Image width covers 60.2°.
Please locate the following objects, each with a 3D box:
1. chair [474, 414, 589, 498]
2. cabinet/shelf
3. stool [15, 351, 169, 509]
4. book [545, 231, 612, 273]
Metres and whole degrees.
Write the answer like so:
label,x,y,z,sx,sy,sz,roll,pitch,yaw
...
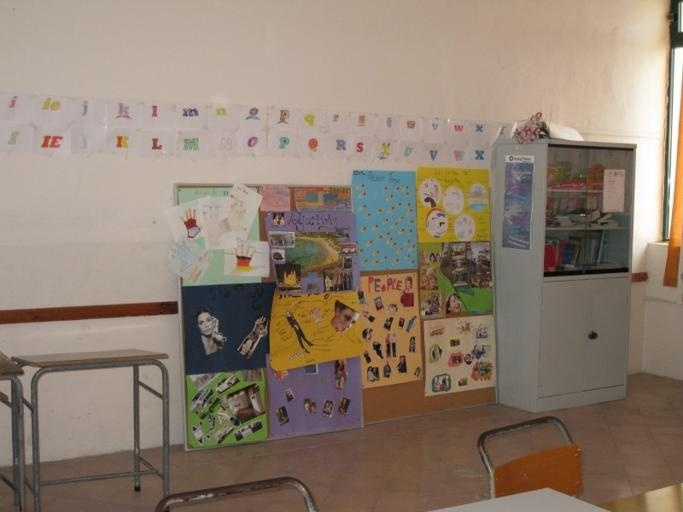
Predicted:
label,x,y,z,sx,sy,sz,roll,pitch,yaw
chair,0.801,0.869,2.468,0.550,0.322,0.263,-5,9,-34
cabinet/shelf,2.076,0.196,5.816,1.355,2.517,0.771,-1,4,-29
stool,-1.717,1.180,3.971,0.987,1.143,0.592,-1,5,-27
book,2.202,-0.035,5.541,0.495,0.440,0.111,-5,11,-21
